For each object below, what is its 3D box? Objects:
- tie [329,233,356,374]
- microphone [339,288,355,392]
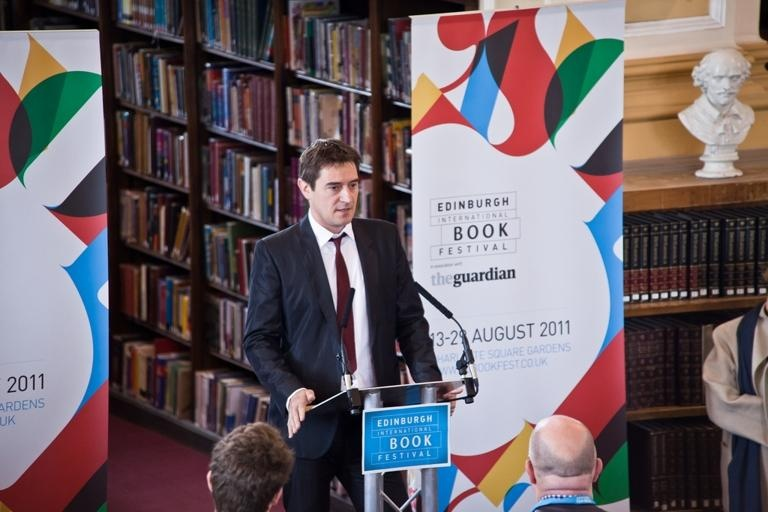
[{"bbox_3d":[-0.174,0.210,5.930,0.125,0.750,0.098,-6,-15,28],"label":"tie"},{"bbox_3d":[-0.170,0.359,5.484,0.072,0.488,0.052,24,-30,-35],"label":"microphone"}]
